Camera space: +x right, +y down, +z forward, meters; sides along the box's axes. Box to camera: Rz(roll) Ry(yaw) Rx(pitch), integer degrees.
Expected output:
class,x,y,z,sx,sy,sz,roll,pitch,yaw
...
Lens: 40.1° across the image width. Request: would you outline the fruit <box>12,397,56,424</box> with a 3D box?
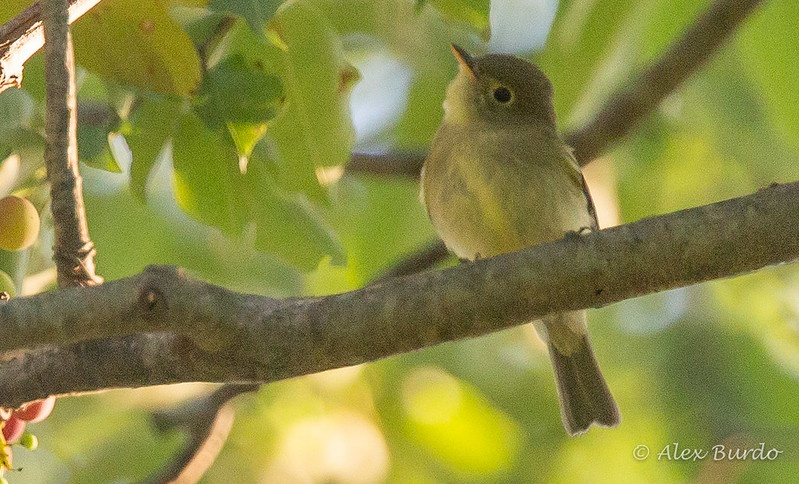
class,x,y,z,sx,sy,sz,roll,pitch,yaw
fruit,-1.562,0.723,4.675,0.161,0.082,0.225,0,-14,-21
